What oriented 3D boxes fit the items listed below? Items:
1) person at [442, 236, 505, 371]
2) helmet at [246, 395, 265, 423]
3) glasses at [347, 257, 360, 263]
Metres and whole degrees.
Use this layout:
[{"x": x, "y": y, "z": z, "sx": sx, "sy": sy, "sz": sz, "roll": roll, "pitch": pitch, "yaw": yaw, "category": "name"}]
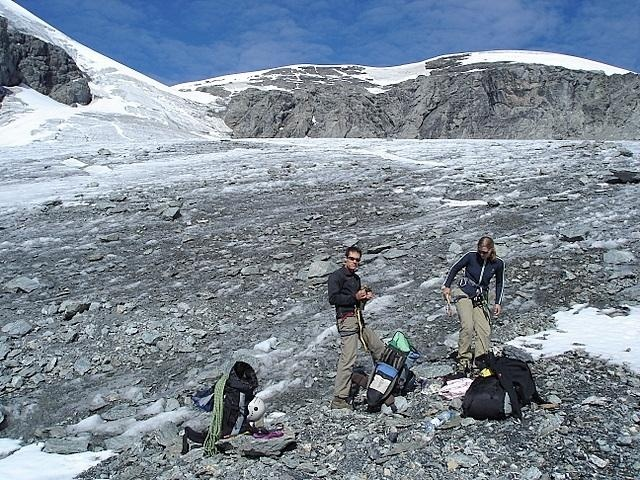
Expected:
[{"x": 2.889, "y": 1.178, "z": 8.190, "sx": 0.997, "sy": 2.478, "sz": 1.323, "roll": -1, "pitch": 23, "yaw": 25, "category": "person"}, {"x": -1.071, "y": 2.849, "z": 7.174, "sx": 0.218, "sy": 0.350, "sz": 0.282, "roll": 5, "pitch": 24, "yaw": 34, "category": "helmet"}, {"x": 0.610, "y": 0.346, "z": 7.733, "sx": 0.217, "sy": 0.111, "sz": 0.100, "roll": -11, "pitch": 19, "yaw": -14, "category": "glasses"}]
